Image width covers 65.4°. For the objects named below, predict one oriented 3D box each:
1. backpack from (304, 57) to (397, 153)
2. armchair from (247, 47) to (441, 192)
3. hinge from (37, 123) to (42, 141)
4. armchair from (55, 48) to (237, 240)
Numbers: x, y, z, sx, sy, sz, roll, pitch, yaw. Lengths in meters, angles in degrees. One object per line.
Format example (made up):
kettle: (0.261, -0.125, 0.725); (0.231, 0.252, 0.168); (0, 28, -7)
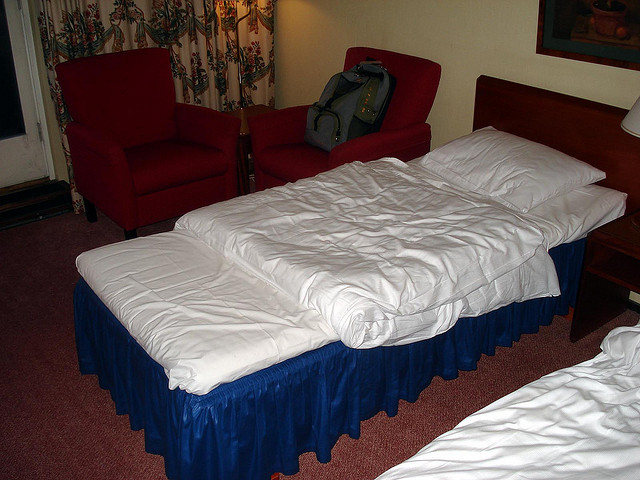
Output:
backpack: (0.214, -1.029, 3.937); (0.448, 0.813, 0.608); (10, 16, -30)
armchair: (0.224, -0.913, 3.789); (0.947, 1.116, 0.800); (-27, 50, -28)
hinge: (-2.402, -0.924, 4.259); (0.023, 0.140, 0.023); (-13, 29, -28)
armchair: (-1.362, -0.715, 3.946); (1.257, 1.383, 1.114); (19, 32, 31)
